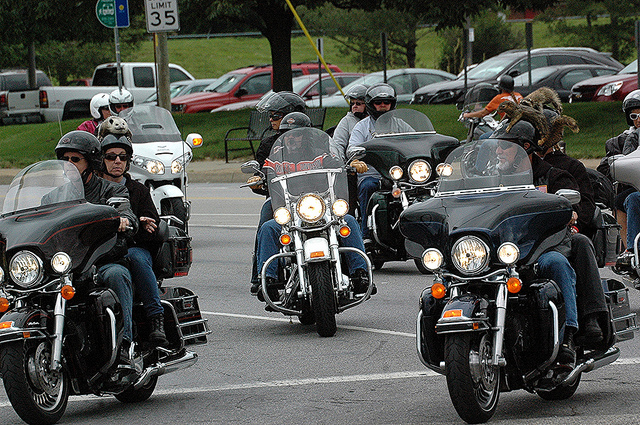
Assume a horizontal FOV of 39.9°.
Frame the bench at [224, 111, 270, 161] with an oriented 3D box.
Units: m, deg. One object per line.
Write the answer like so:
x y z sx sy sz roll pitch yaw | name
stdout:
-2.191 -2.125 24.935 0.887 1.397 2.229 0 5 -11 | bench

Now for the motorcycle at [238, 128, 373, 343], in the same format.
-0.050 0.218 9.844 1.181 2.260 0.972 -1 9 6 | motorcycle

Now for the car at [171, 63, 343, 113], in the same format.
-2.608 -4.657 33.391 5.942 2.057 2.637 -4 7 -16 | car

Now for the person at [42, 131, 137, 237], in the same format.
-2.051 -0.225 7.859 1.009 0.960 0.508 -4 -15 9 | person

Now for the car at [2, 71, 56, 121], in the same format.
-12.878 -5.209 38.908 2.134 1.908 3.694 -4 9 -19 | car

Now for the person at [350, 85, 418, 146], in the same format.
0.946 -1.448 13.305 1.076 0.919 0.586 -1 2 -2 | person

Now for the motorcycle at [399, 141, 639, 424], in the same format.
1.587 0.554 7.369 1.682 2.238 0.882 -6 10 -24 | motorcycle
